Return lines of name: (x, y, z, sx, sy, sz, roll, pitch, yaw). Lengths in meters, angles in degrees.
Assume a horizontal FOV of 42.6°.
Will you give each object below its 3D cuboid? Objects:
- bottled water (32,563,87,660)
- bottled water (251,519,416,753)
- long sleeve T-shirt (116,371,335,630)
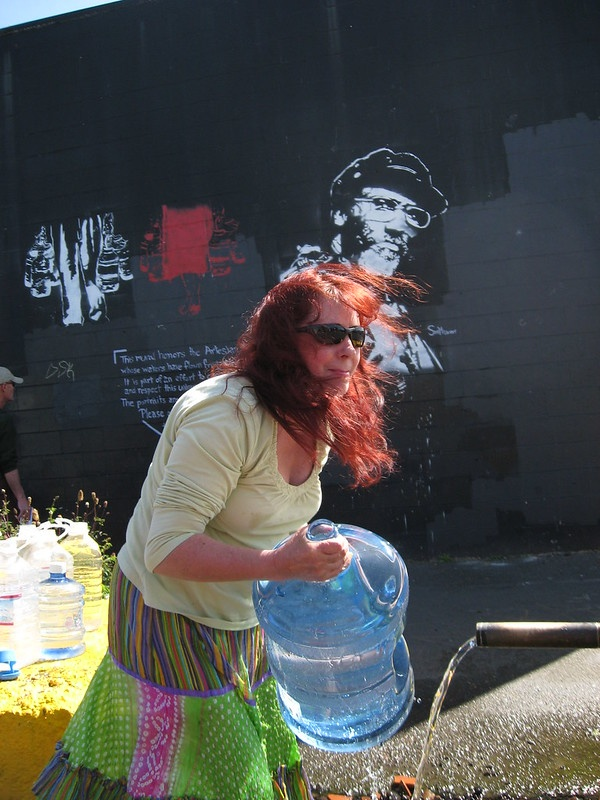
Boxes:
bottled water: (-0.951, 0.824, 2.992, 0.255, 0.323, 0.232, 4, -12, -29)
bottled water: (0.144, 0.625, 2.051, 0.424, 0.487, 0.377, 3, 24, 19)
long sleeve T-shirt: (-0.174, 0.280, 1.918, 0.531, 0.685, 0.384, -7, 4, -13)
